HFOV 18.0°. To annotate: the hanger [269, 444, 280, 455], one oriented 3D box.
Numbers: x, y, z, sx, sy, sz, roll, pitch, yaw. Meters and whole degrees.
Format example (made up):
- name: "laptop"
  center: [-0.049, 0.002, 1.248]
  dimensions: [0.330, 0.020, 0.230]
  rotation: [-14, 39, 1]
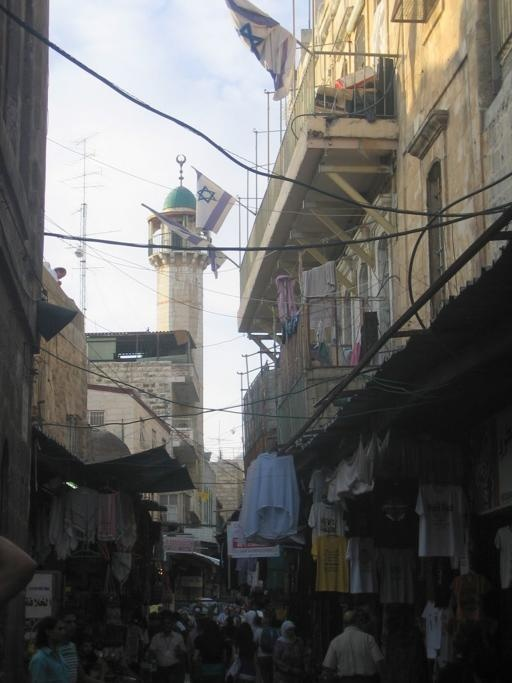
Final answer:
- name: "hanger"
  center: [0.252, 1.482, 21.803]
  dimensions: [0.172, 0.161, 0.299]
  rotation: [2, -2, -1]
